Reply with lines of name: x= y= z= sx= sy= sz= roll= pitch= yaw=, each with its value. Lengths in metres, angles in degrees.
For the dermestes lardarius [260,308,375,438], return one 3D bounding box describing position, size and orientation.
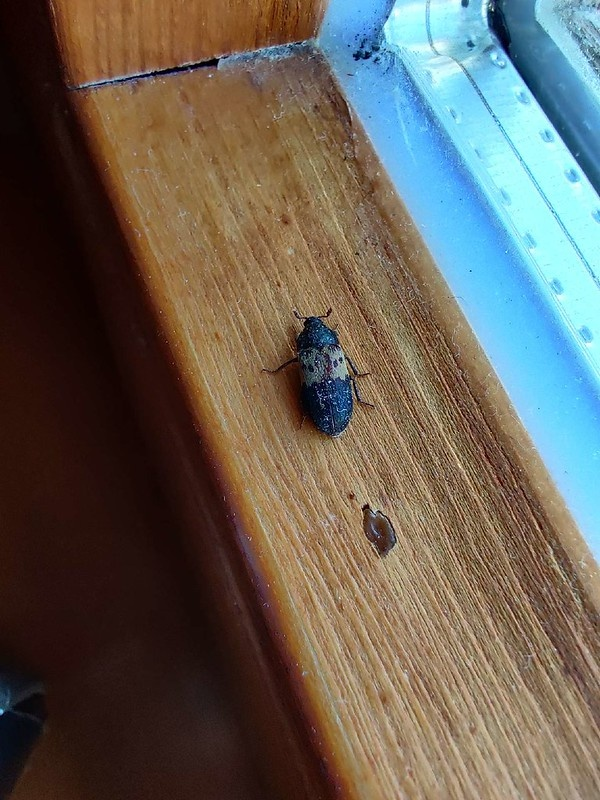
dermestes lardarius: x=0.033 y=-0.053 z=1.311 sx=0.155 sy=0.093 sz=0.203 roll=-29 pitch=58 yaw=-35
